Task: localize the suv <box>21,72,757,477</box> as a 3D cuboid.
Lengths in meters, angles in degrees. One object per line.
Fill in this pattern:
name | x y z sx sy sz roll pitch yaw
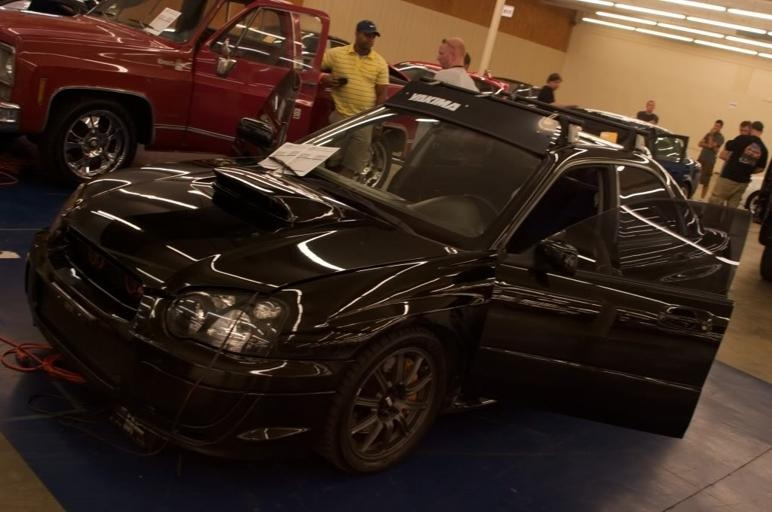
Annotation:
suv | 0.188 0.084 3.212 3.333 1.063 2.818 -3 26 -32
